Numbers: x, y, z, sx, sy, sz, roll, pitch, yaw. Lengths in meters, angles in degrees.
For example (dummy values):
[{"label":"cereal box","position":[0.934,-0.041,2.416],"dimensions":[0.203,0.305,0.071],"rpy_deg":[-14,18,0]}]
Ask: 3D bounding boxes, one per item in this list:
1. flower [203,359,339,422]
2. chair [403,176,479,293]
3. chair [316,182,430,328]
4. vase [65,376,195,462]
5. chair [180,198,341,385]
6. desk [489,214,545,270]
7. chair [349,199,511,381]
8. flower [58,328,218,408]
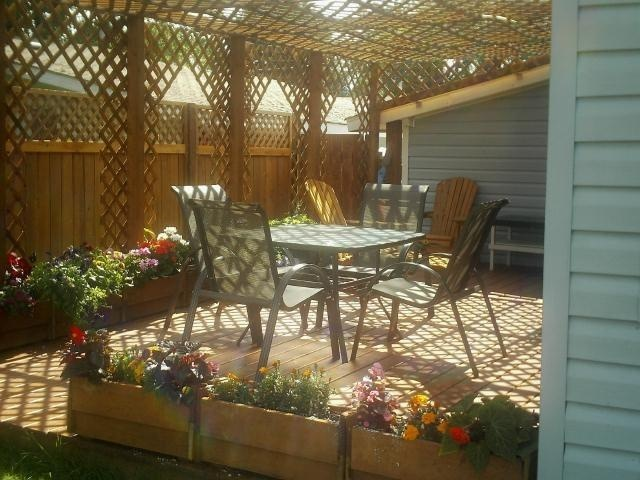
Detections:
[{"label":"flower","position":[-0.218,0.753,2.580],"dimensions":[0.392,0.136,0.320],"rpy_deg":[1,-3,32]},{"label":"chair","position":[1.910,-0.317,8.046],"dimensions":[0.880,1.102,1.162],"rpy_deg":[9,14,43]},{"label":"chair","position":[0.485,0.002,6.345],"dimensions":[1.311,2.170,1.499],"rpy_deg":[5,9,29]},{"label":"vase","position":[-1.018,0.873,2.977],"dimensions":[0.594,0.354,0.761],"rpy_deg":[-11,-2,-43]},{"label":"chair","position":[-0.402,0.320,3.853],"dimensions":[0.913,1.276,1.039],"rpy_deg":[2,5,22]},{"label":"desk","position":[2.853,-0.023,7.641],"dimensions":[0.843,0.894,0.897],"rpy_deg":[0,10,2]},{"label":"chair","position":[0.750,0.348,4.081],"dimensions":[0.874,1.157,0.660],"rpy_deg":[3,2,15]},{"label":"flower","position":[-0.907,0.632,2.775],"dimensions":[0.651,0.325,0.391],"rpy_deg":[5,15,14]}]
